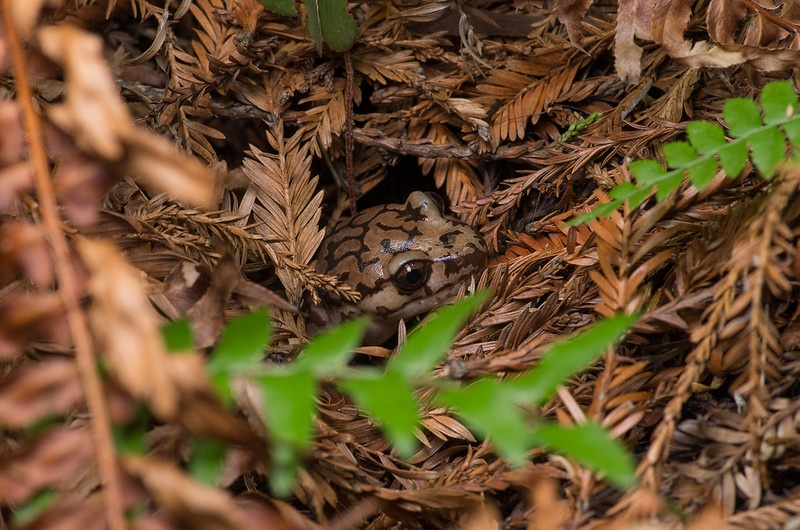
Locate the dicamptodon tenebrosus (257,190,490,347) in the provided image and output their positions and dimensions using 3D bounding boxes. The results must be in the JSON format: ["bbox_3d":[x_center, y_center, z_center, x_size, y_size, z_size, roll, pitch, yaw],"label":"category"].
[{"bbox_3d":[-0.051,-0.019,2.543,0.566,0.341,0.333,-11,61,-9],"label":"dicamptodon tenebrosus"}]
